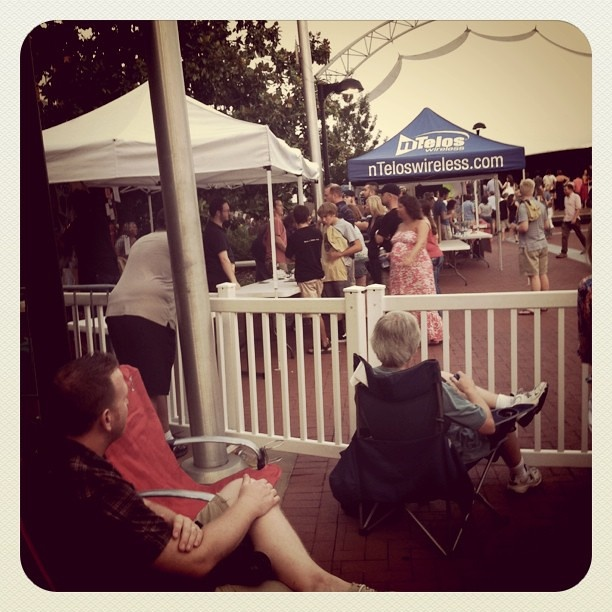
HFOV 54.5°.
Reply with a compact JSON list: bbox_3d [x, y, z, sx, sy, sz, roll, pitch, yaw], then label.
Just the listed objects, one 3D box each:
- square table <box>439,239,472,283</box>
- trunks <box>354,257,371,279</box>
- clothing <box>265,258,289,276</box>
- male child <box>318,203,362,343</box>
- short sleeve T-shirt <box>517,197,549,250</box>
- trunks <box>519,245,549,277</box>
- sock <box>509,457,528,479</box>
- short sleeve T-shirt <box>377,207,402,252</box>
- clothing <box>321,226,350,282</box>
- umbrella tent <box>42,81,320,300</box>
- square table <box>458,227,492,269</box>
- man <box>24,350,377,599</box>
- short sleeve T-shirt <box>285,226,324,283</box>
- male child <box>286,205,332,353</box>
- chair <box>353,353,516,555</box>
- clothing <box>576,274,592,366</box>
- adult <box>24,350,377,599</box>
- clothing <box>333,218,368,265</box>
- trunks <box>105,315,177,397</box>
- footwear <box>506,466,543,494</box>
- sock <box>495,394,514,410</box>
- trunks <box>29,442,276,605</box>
[{"bbox_3d":[3.433,-0.867,13.514,0.581,0.601,1.108,14,3,17],"label":"square table"},{"bbox_3d":[0.765,-0.556,7.892,0.188,0.381,0.353,1,7,5],"label":"trunks"},{"bbox_3d":[-0.373,-0.555,8.504,0.291,0.249,0.241,2,4,44],"label":"clothing"},{"bbox_3d":[0.370,-0.384,7.271,0.463,1.835,0.558,3,-7,-30],"label":"male child"},{"bbox_3d":[2.945,-1.080,7.693,0.459,0.654,0.319,-11,13,-15],"label":"short sleeve T-shirt"},{"bbox_3d":[2.952,-0.599,7.713,0.293,0.606,0.429,3,7,38],"label":"trunks"},{"bbox_3d":[1.209,0.921,3.410,0.102,0.100,0.085,-33,-3,-10],"label":"sock"},{"bbox_3d":[1.055,-0.944,7.423,0.200,0.662,0.447,13,25,29],"label":"short sleeve T-shirt"},{"bbox_3d":[0.353,-0.653,7.168,0.293,0.823,0.573,0,-3,-6],"label":"clothing"},{"bbox_3d":[-1.309,-1.442,6.415,1.815,1.135,2.054,1,16,9],"label":"umbrella tent"},{"bbox_3d":[4.010,-1.177,13.919,0.744,0.830,1.571,4,24,15],"label":"square table"},{"bbox_3d":[-0.361,0.740,2.507,1.433,1.133,0.793,0,-2,-26],"label":"man"},{"bbox_3d":[0.092,-0.571,6.976,0.373,0.610,0.332,-2,-15,-13],"label":"short sleeve T-shirt"},{"bbox_3d":[0.005,-0.332,7.055,0.412,1.748,0.453,-5,15,-6],"label":"male child"},{"bbox_3d":[0.630,0.638,3.153,0.691,0.947,0.783,-3,8,15],"label":"chair"},{"bbox_3d":[1.481,0.085,3.147,0.080,0.502,0.197,2,10,26],"label":"clothing"},{"bbox_3d":[-0.381,0.780,2.510,1.378,1.100,0.758,3,-6,-30],"label":"adult"},{"bbox_3d":[0.548,-0.800,7.419,0.287,0.594,0.499,-21,15,10],"label":"clothing"},{"bbox_3d":[-1.172,0.397,4.247,0.467,0.737,0.383,11,-44,-31],"label":"trunks"},{"bbox_3d":[1.255,0.975,3.427,0.225,0.120,0.105,-25,23,-19],"label":"footwear"},{"bbox_3d":[1.074,0.507,3.195,0.105,0.123,0.066,2,-9,20],"label":"sock"},{"bbox_3d":[-0.587,0.711,2.324,0.895,0.683,0.689,0,8,-19],"label":"trunks"}]
